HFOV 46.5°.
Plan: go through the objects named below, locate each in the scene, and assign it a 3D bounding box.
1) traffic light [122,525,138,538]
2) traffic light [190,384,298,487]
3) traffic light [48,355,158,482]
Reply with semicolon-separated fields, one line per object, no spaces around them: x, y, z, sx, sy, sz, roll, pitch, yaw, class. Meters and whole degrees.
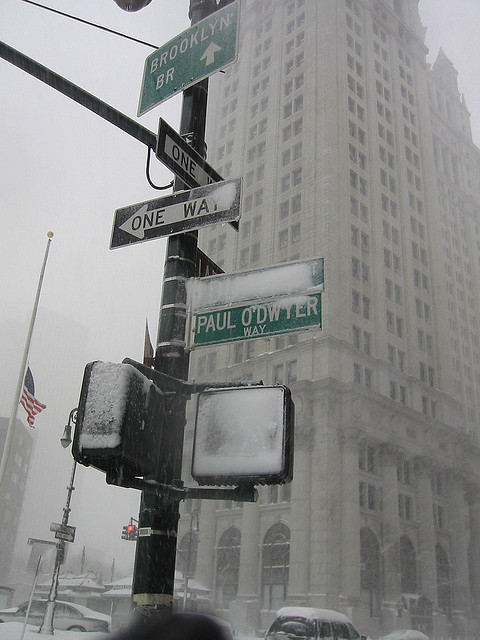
-6.043;11.572;30.429;0.580;0.608;0.576;7;-20;-4;traffic light
0.012;0.563;2.715;0.399;0.548;0.172;-3;-22;15;traffic light
-0.520;0.393;2.243;0.275;0.447;0.433;8;-20;-9;traffic light
